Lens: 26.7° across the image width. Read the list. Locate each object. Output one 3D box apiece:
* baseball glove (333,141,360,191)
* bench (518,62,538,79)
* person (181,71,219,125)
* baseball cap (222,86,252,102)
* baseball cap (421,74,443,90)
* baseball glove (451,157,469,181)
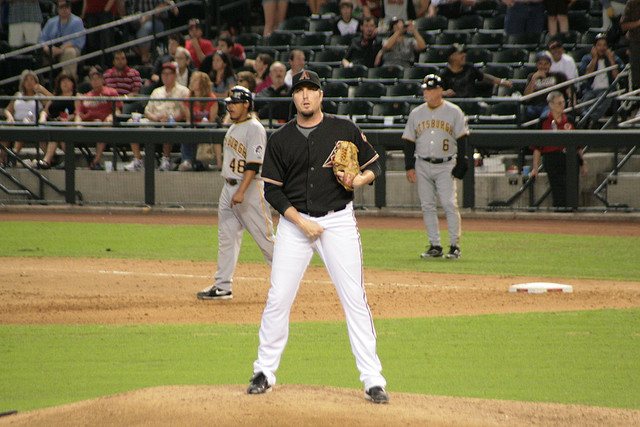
[{"bbox_3d":[0.484,-0.946,23.704,0.470,0.192,0.793,0,-34,4],"label":"baseball glove"},{"bbox_3d":[5.462,-3.765,35.630,0.390,0.520,0.449,0,21,-21],"label":"bench"},{"bbox_3d":[-3.136,-2.892,35.024,0.926,1.444,1.247,-5,11,-7],"label":"person"},{"bbox_3d":[-1.591,-2.290,26.280,0.383,0.202,0.283,3,4,-1],"label":"baseball cap"},{"bbox_3d":[2.411,-2.768,28.856,0.380,0.293,0.328,1,6,6],"label":"baseball cap"},{"bbox_3d":[3.071,-0.928,28.818,0.186,0.532,0.379,31,-10,-34],"label":"baseball glove"}]
